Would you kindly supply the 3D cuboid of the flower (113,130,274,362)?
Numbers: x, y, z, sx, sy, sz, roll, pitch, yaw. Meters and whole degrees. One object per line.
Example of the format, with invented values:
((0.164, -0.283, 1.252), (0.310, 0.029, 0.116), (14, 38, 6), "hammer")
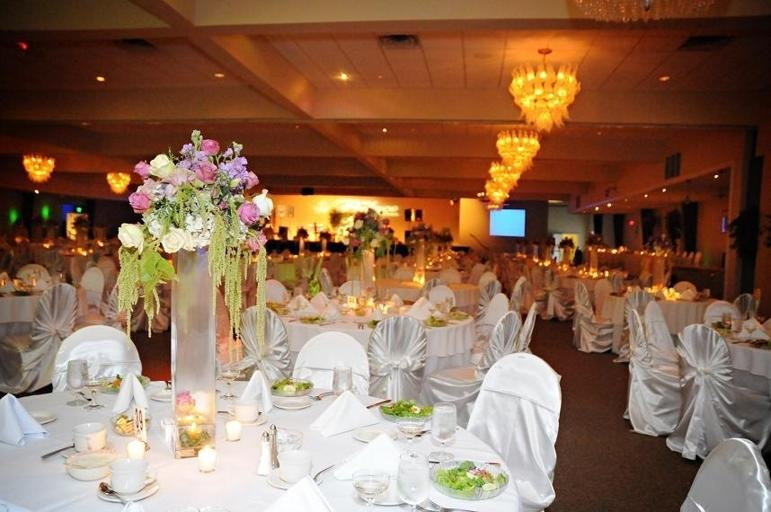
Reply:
((-1.228, -0.073, 3.411), (0.761, 1.210, 0.863), (-5, 1, 20), "flower")

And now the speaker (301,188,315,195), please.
((-3.100, -2.565, 22.358), (0.367, 0.230, 0.363), (4, -4, -42), "speaker")
